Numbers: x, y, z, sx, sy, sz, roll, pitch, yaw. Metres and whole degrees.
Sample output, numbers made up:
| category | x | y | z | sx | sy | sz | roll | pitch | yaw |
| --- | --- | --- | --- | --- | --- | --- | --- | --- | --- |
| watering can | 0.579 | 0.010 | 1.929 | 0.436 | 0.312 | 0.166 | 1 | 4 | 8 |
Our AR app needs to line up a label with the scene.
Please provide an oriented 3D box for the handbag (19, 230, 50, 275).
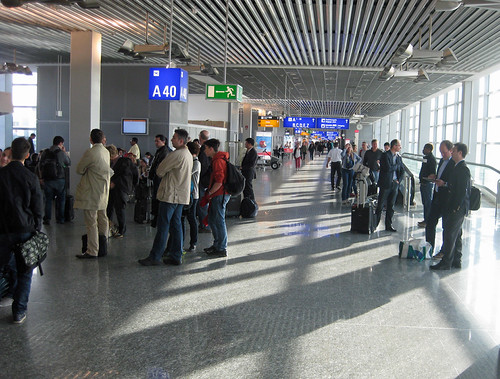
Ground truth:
| category | x | y | z | sx | sy | sz | roll | pitch | yaw |
| --- | --- | --- | --- | --- | --- | --- | --- | --- | --- |
| handbag | -2.154 | 0.615 | 3.776 | 0.137 | 0.354 | 0.258 | 12 | -15 | -30 |

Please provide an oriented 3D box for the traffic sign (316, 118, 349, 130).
| category | x | y | z | sx | sy | sz | roll | pitch | yaw |
| --- | --- | --- | --- | --- | --- | --- | --- | --- | --- |
| traffic sign | 6.843 | -5.488 | 31.173 | 2.557 | 0.883 | 1.017 | 3 | 9 | 8 |

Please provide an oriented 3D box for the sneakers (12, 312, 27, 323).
| category | x | y | z | sx | sy | sz | roll | pitch | yaw |
| --- | --- | --- | --- | --- | --- | --- | --- | --- | --- |
| sneakers | -2.345 | 1.296 | 3.824 | 0.058 | 0.072 | 0.160 | 2 | 6 | 1 |

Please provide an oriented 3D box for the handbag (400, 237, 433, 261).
| category | x | y | z | sx | sy | sz | roll | pitch | yaw |
| --- | --- | --- | --- | --- | --- | --- | --- | --- | --- |
| handbag | 2.824 | 1.028 | 6.353 | 0.304 | 0.185 | 0.478 | 2 | 4 | 19 |

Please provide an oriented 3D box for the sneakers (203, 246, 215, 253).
| category | x | y | z | sx | sy | sz | roll | pitch | yaw |
| --- | --- | --- | --- | --- | --- | --- | --- | --- | --- |
| sneakers | -0.698 | 1.032 | 6.404 | 0.182 | 0.083 | 0.109 | 6 | -5 | -13 |

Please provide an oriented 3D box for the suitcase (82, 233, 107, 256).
| category | x | y | z | sx | sy | sz | roll | pitch | yaw |
| --- | --- | --- | --- | --- | --- | --- | --- | --- | --- |
| suitcase | -2.494 | 0.925 | 6.148 | 0.335 | 0.355 | 0.358 | 12 | 8 | 24 |

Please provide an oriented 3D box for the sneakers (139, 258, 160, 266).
| category | x | y | z | sx | sy | sz | roll | pitch | yaw |
| --- | --- | --- | --- | --- | --- | --- | --- | --- | --- |
| sneakers | -1.542 | 1.100 | 5.741 | 0.290 | 0.142 | 0.123 | 11 | 1 | -7 |

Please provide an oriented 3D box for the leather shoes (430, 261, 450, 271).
| category | x | y | z | sx | sy | sz | roll | pitch | yaw |
| --- | --- | --- | --- | --- | --- | --- | --- | --- | --- |
| leather shoes | 2.961 | 1.200 | 5.881 | 0.331 | 0.147 | 0.119 | 3 | 0 | 11 |

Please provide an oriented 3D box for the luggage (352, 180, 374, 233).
| category | x | y | z | sx | sy | sz | roll | pitch | yaw |
| --- | --- | --- | --- | --- | --- | --- | --- | --- | --- |
| luggage | 2.483 | 0.332 | 8.244 | 0.354 | 1.158 | 0.476 | -5 | 5 | -44 |

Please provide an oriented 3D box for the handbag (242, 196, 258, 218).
| category | x | y | z | sx | sy | sz | roll | pitch | yaw |
| --- | --- | --- | --- | --- | --- | --- | --- | --- | --- |
| handbag | -0.045 | 0.483 | 9.523 | 0.474 | 0.590 | 0.413 | -1 | 4 | -12 |

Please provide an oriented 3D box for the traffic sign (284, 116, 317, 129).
| category | x | y | z | sx | sy | sz | roll | pitch | yaw |
| --- | --- | --- | --- | --- | --- | --- | --- | --- | --- |
| traffic sign | 4.344 | -5.783 | 32.266 | 2.797 | 0.872 | 1.941 | 3 | 10 | 10 |

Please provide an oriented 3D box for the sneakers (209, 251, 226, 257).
| category | x | y | z | sx | sy | sz | roll | pitch | yaw |
| --- | --- | --- | --- | --- | --- | --- | --- | --- | --- |
| sneakers | -0.548 | 1.069 | 6.252 | 0.262 | 0.125 | 0.108 | 4 | -1 | 0 |

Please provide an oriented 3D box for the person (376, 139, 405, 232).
| category | x | y | z | sx | sy | sz | roll | pitch | yaw |
| --- | --- | --- | --- | --- | --- | --- | --- | --- | --- |
| person | 3.274 | -0.125 | 8.835 | 0.487 | 2.087 | 1.549 | 4 | 9 | 21 |

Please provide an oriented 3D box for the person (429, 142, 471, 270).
| category | x | y | z | sx | sy | sz | roll | pitch | yaw |
| --- | --- | --- | --- | --- | --- | --- | --- | --- | --- |
| person | 3.154 | 0.270 | 5.836 | 0.393 | 1.957 | 0.650 | 7 | 10 | 36 |

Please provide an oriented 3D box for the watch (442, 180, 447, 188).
| category | x | y | z | sx | sy | sz | roll | pitch | yaw |
| --- | --- | --- | --- | --- | --- | --- | --- | --- | --- |
| watch | 3.094 | -0.077 | 5.944 | 0.055 | 0.075 | 0.076 | -1 | 8 | -1 |
